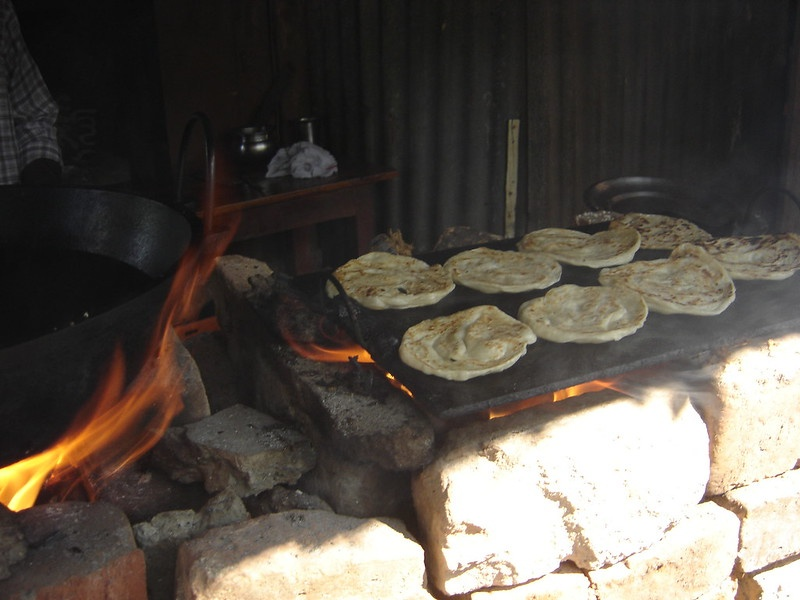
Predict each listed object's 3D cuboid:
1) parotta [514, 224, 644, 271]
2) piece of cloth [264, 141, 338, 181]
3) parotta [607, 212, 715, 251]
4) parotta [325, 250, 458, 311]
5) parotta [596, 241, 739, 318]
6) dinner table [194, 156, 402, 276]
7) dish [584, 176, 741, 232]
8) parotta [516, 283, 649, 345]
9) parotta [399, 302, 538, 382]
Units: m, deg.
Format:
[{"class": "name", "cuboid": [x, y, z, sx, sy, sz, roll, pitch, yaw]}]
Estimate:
[{"class": "parotta", "cuboid": [0.836, -0.236, 3.039, 0.404, 0.078, 0.263, -2, 22, 24]}, {"class": "piece of cloth", "cuboid": [-0.630, -0.880, 4.254, 0.376, 0.138, 0.269, -26, 37, -37]}, {"class": "parotta", "cuboid": [1.231, -0.350, 3.240, 0.353, 0.038, 0.373, 10, 20, 23]}, {"class": "parotta", "cuboid": [-0.010, -0.076, 2.803, 0.358, 0.052, 0.292, -2, 27, -10]}, {"class": "parotta", "cuboid": [1.108, -0.070, 2.800, 0.579, 0.516, 0.123, 1, 62, 63]}, {"class": "dinner table", "cuboid": [-0.583, -0.575, 4.148, 0.909, 0.781, 0.806, -15, 29, -22]}, {"class": "dish", "cuboid": [1.366, -0.508, 3.475, 0.540, 0.072, 0.536, 19, 27, 23]}, {"class": "parotta", "cuboid": [0.696, 0.043, 2.540, 0.472, 0.061, 0.413, 1, 28, 7]}, {"class": "parotta", "cuboid": [0.232, 0.154, 2.404, 0.486, 0.050, 0.398, -10, 29, -14]}]
